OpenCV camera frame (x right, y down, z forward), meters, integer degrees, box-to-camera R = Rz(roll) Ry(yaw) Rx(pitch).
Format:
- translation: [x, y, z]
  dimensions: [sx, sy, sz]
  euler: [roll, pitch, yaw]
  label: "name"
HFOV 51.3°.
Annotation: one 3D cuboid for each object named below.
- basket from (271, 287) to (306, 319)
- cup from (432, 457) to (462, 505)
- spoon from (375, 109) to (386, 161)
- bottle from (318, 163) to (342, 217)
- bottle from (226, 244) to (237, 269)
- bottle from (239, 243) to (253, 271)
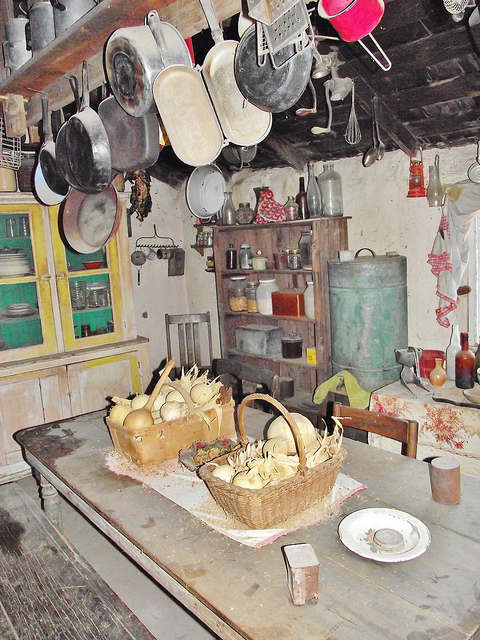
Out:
- translation: [0.314, -0.098, 3.146]
  dimensions: [0.122, 0.163, 0.280]
  euler: [-11, 12, -26]
  label: "basket"
- translation: [0.529, 0.414, 1.291]
  dimensions: [0.064, 0.104, 0.073]
  euler: [-18, 17, -36]
  label: "cup"
- translation: [0.696, -0.916, 2.491]
  dimensions: [0.034, 0.224, 0.045]
  euler: [-16, 17, -19]
  label: "spoon"
- translation: [0.541, -0.757, 2.919]
  dimensions: [0.160, 0.298, 0.168]
  euler: [-6, 12, 1]
  label: "bottle"
- translation: [-0.068, -0.435, 3.549]
  dimensions: [0.071, 0.141, 0.064]
  euler: [-4, 12, 7]
  label: "bottle"
- translation: [0.039, -0.436, 3.461]
  dimensions: [0.093, 0.178, 0.145]
  euler: [-5, 12, 2]
  label: "bottle"
